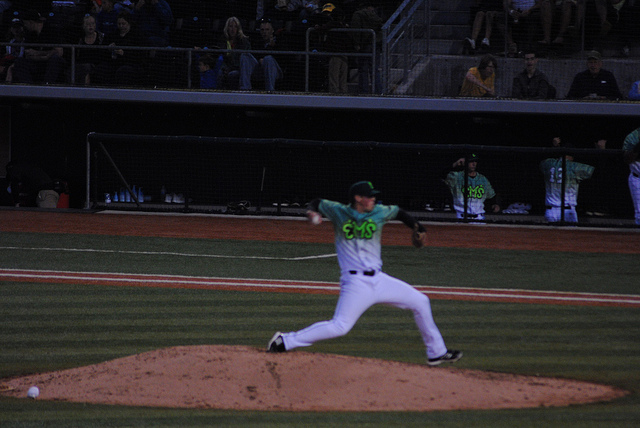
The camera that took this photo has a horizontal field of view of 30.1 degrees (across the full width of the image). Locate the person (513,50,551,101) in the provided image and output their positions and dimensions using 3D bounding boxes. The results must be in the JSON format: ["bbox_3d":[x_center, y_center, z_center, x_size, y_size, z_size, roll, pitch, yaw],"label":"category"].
[{"bbox_3d":[5.524,-3.601,31.299,0.877,1.104,0.663,0,1,6],"label":"person"}]

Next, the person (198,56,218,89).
[{"bbox_3d":[-3.009,-3.831,31.984,0.488,0.856,0.469,0,1,-2],"label":"person"}]

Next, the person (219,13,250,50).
[{"bbox_3d":[-2.303,-4.823,31.798,0.605,0.837,0.857,0,1,-24],"label":"person"}]

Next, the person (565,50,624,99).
[{"bbox_3d":[7.165,-3.643,31.120,1.365,1.211,0.524,0,2,11],"label":"person"}]

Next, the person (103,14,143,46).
[{"bbox_3d":[-5.271,-5.075,32.221,1.373,0.842,0.624,0,20,11],"label":"person"}]

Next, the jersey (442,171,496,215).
[{"bbox_3d":[3.831,-0.543,31.280,1.189,0.874,0.387,3,5,9],"label":"jersey"}]

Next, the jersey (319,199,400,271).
[{"bbox_3d":[0.732,0.456,22.861,1.653,1.356,0.458,1,-11,1],"label":"jersey"}]

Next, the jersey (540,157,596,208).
[{"bbox_3d":[6.260,-0.813,30.713,1.775,1.321,0.591,4,0,38],"label":"jersey"}]

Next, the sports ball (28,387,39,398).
[{"bbox_3d":[-5.020,3.148,20.818,0.156,0.152,0.125,31,22,-37],"label":"sports ball"}]

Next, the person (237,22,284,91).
[{"bbox_3d":[-1.608,-4.217,31.873,1.202,1.810,1.266,0,1,1],"label":"person"}]

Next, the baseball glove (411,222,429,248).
[{"bbox_3d":[1.794,0.373,21.622,0.229,0.467,0.601,0,1,4],"label":"baseball glove"}]
